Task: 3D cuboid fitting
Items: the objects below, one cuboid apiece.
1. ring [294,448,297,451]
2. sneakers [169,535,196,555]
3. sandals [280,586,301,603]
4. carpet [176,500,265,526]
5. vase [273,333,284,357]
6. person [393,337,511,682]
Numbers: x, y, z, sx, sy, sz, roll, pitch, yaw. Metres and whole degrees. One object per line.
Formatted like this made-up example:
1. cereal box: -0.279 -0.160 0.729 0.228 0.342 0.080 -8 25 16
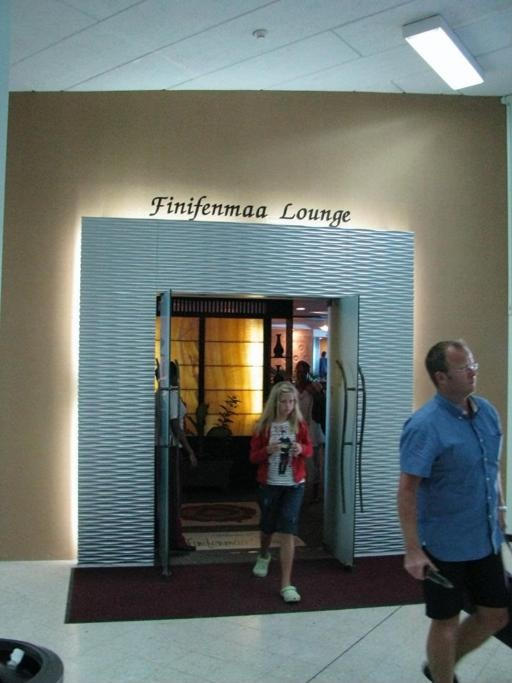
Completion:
1. ring: 0.265 0.740 4.414 0.024 0.014 0.006 2 -6 7
2. sneakers: -0.618 1.659 5.262 0.280 0.170 0.090 -2 -5 9
3. sandals: 0.221 1.607 4.097 0.080 0.048 0.131 0 -7 -9
4. carpet: -0.369 1.721 6.437 0.791 0.007 0.828 1 -2 -23
5. vase: 0.288 0.050 8.379 0.143 0.304 0.050 1 -4 -5
6. person: 0.814 0.738 2.625 0.363 1.487 0.487 -2 -4 31
